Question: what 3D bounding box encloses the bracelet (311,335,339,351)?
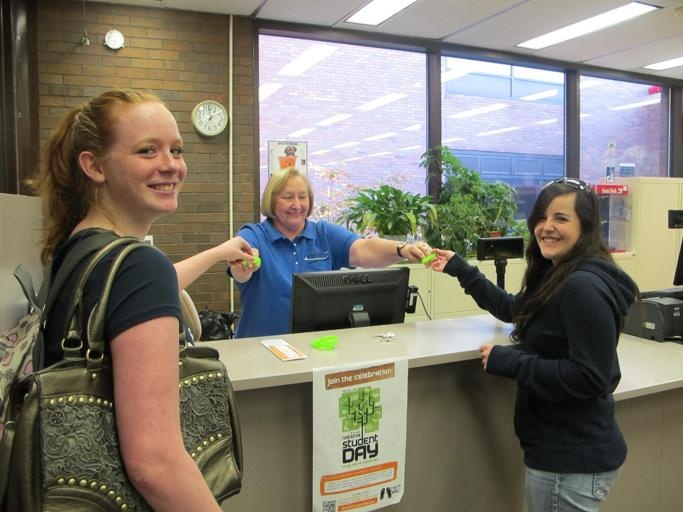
[{"bbox_3d":[-0.065,0.328,1.970,0.101,0.038,0.082,-2,6,-4],"label":"bracelet"}]
